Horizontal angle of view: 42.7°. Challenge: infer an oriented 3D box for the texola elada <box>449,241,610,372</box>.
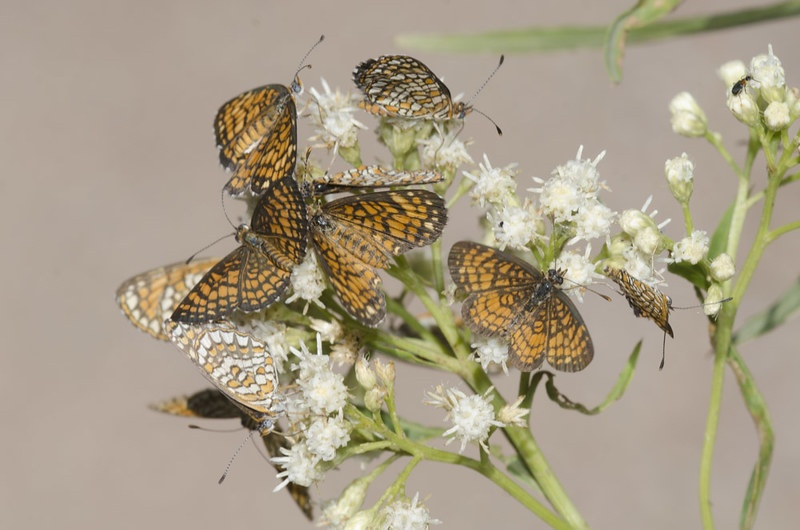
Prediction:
[{"bbox_3d":[0.292,0.120,2.570,0.353,0.269,0.223,14,-55,-29],"label":"texola elada"}]
